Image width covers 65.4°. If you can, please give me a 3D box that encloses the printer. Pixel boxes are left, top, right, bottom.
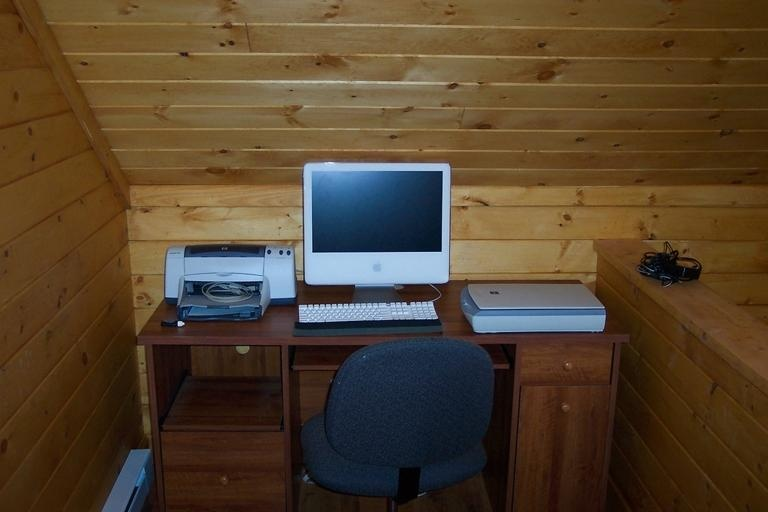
[{"bbox_3d":[-0.684,0.094,2.636,0.664,0.306,0.422,0,14,-12],"label":"printer"}]

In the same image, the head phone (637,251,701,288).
[{"bbox_3d":[1.289,0.074,2.673,0.263,0.156,0.169,2,25,9],"label":"head phone"}]

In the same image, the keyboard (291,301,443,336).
[{"bbox_3d":[-0.073,0.265,2.552,0.608,0.087,0.217,-1,9,-6],"label":"keyboard"}]

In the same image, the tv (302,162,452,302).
[{"bbox_3d":[-0.038,-0.129,2.713,0.788,0.557,0.227,0,11,-4],"label":"tv"}]
